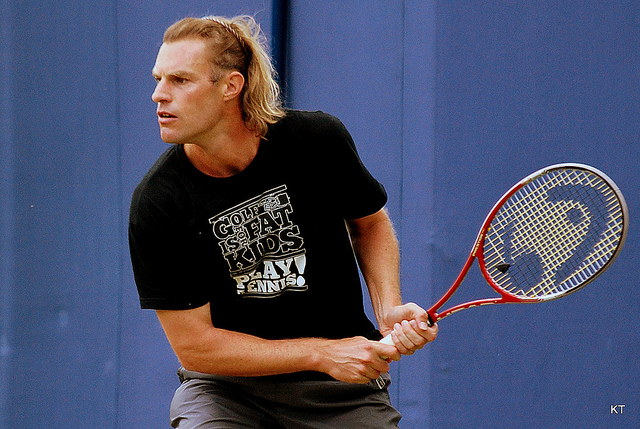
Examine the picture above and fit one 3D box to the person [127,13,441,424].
[{"bbox_3d":[-0.296,-0.076,5.581,1.401,1.911,0.648,-6,9,-5],"label":"person"}]
